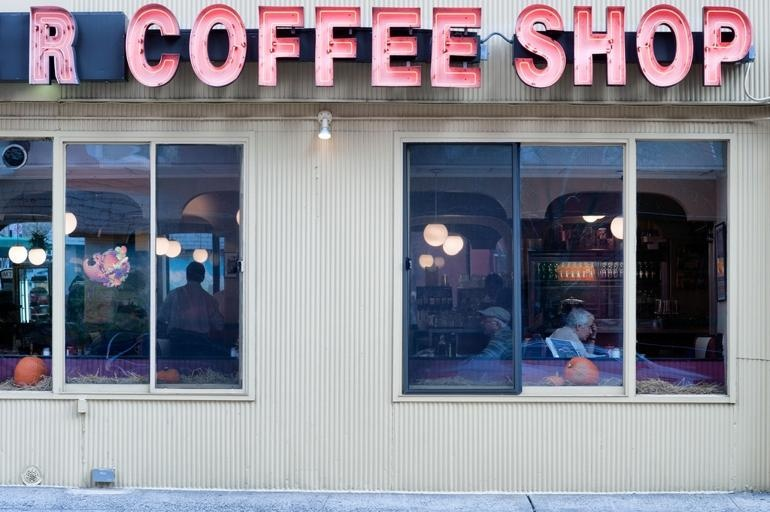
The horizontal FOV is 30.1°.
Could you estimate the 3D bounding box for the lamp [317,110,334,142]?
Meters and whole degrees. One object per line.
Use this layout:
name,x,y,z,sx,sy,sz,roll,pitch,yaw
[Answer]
lamp,-0.693,-1.514,16.533,0.173,0.342,0.181,0,-4,-3

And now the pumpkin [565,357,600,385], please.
pumpkin,2.270,1.315,16.703,0.372,0.284,0.295,1,19,-35

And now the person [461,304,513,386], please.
person,1.271,1.098,16.797,0.543,1.059,0.504,-12,22,-28

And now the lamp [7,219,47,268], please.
lamp,-4.201,-0.163,16.948,0.574,0.566,0.249,2,4,22

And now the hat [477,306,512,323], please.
hat,1.278,0.656,16.639,0.283,0.101,0.196,12,-4,6

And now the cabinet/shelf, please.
cabinet/shelf,2.321,0.275,16.965,1.198,0.975,0.645,-2,21,6

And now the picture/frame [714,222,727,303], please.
picture/frame,3.890,0.054,16.641,0.149,0.916,0.054,-3,-5,34

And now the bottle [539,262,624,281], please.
bottle,2.253,0.169,16.647,0.969,0.234,0.121,-1,-4,6
